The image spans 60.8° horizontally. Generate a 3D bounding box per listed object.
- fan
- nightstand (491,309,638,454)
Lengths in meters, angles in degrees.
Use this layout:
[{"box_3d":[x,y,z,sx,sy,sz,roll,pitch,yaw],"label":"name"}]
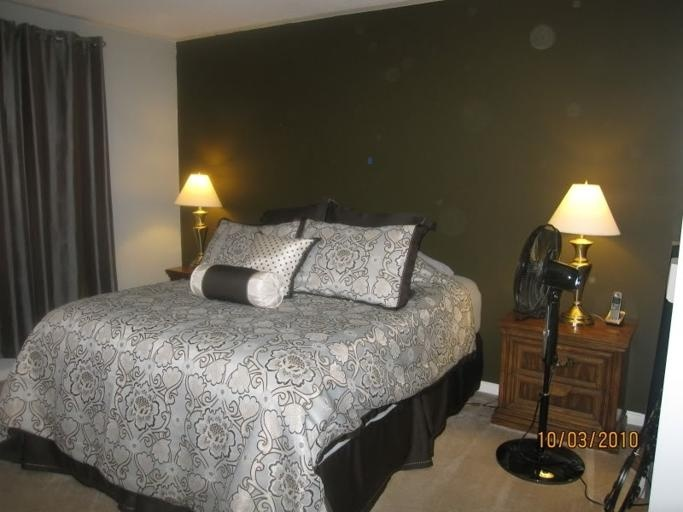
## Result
[{"box_3d":[1.239,0.568,3.413,0.505,1.477,0.470,11,15,34],"label":"fan"},{"box_3d":[1.493,0.656,4.044,0.962,1.029,0.720,2,4,31],"label":"nightstand"}]
